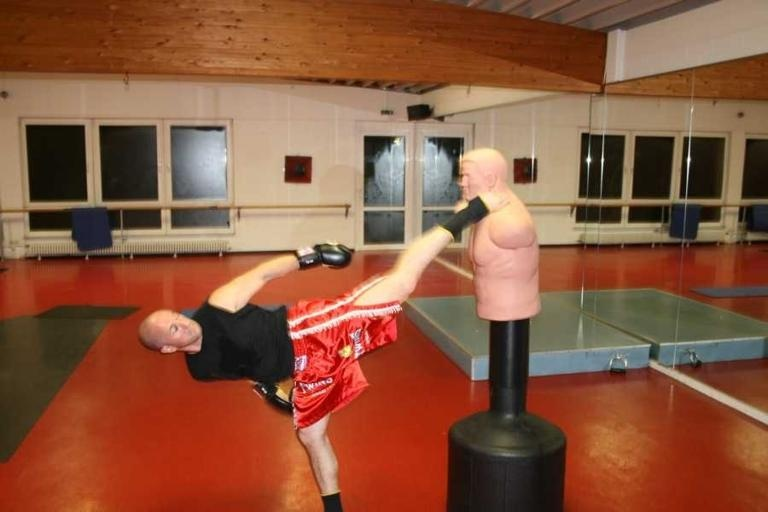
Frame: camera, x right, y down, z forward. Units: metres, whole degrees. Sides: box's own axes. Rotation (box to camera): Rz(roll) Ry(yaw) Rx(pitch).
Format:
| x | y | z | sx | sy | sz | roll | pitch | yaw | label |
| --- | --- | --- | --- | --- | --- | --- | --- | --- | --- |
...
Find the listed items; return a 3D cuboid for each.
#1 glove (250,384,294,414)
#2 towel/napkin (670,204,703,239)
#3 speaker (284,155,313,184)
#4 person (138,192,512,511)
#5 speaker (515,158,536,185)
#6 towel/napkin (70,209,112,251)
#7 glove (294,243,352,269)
| x | y | z | sx | sy | sz | roll | pitch | yaw | label |
| --- | --- | --- | --- | --- | --- | --- | --- | --- | --- |
| -0.648 | 0.834 | 3.499 | 0.227 | 0.081 | 0.167 | 27 | 6 | 5 | glove |
| 2.433 | -0.289 | 4.692 | 0.076 | 0.243 | 0.249 | 0 | 7 | -24 | towel/napkin |
| -1.187 | -1.219 | 8.175 | 0.387 | 0.402 | 0.291 | -2 | 9 | -6 | speaker |
| -0.256 | 0.605 | 3.593 | 1.966 | 1.303 | 1.169 | -3 | -16 | 2 | person |
| 1.579 | -0.950 | 6.509 | 0.265 | 0.261 | 0.079 | -2 | 5 | 17 | speaker |
| -4.382 | -0.420 | 8.753 | 0.545 | 0.650 | 0.401 | -9 | 9 | -26 | towel/napkin |
| -0.337 | -0.008 | 3.325 | 0.224 | 0.092 | 0.168 | 0 | 9 | -4 | glove |
